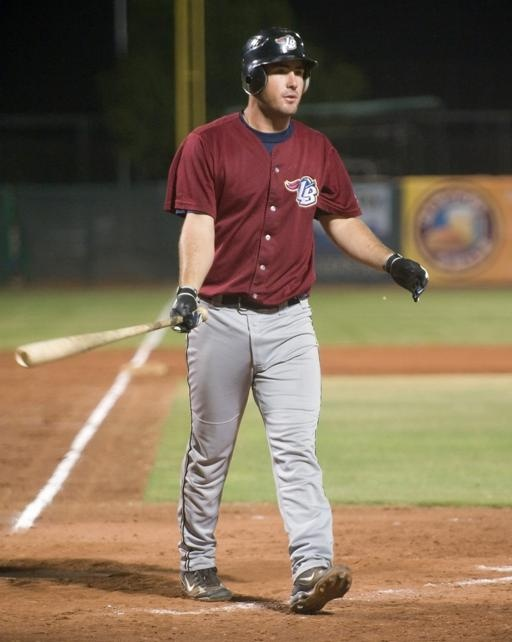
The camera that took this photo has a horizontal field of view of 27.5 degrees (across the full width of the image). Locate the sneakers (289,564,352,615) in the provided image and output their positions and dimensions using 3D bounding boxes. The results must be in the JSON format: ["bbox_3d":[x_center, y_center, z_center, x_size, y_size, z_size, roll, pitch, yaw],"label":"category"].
[{"bbox_3d":[0.189,0.843,3.352,0.257,0.116,0.108,-34,-33,24],"label":"sneakers"}]

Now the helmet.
[{"bbox_3d":[0.075,-0.886,3.560,0.285,0.193,0.229,4,14,20],"label":"helmet"}]

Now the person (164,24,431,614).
[{"bbox_3d":[0.063,-0.010,3.517,0.767,1.934,0.670,2,6,-5],"label":"person"}]

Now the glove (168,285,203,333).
[{"bbox_3d":[-0.212,-0.038,3.246,0.097,0.135,0.053,1,-27,-10],"label":"glove"}]

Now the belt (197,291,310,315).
[{"bbox_3d":[-0.001,-0.064,3.497,0.349,0.064,0.131,2,5,-3],"label":"belt"}]

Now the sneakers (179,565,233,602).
[{"bbox_3d":[-0.177,0.900,3.605,0.077,0.082,0.205,5,-11,-34],"label":"sneakers"}]
